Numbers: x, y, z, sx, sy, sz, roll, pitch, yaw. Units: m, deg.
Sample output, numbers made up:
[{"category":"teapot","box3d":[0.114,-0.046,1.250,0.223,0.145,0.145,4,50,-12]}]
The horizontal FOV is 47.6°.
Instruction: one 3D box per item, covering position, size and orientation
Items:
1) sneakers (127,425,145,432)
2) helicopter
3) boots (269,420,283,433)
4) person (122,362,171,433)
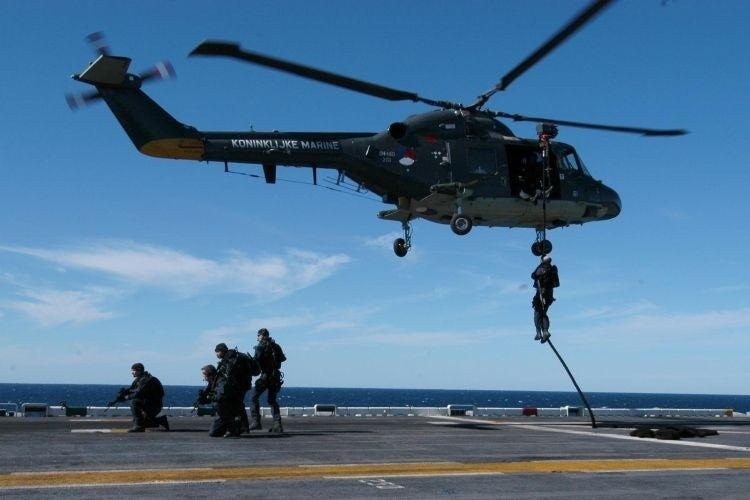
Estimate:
[{"category":"sneakers","box3d":[-5.875,4.409,20.977,0.383,0.124,0.133,7,-2,3]},{"category":"helicopter","box3d":[1.023,-2.983,25.738,15.322,5.540,7.594,3,-14,-29]},{"category":"boots","box3d":[-2.459,4.381,21.190,0.326,0.308,0.487,-2,-12,-7]},{"category":"person","box3d":[-5.735,3.692,21.268,0.895,1.663,1.118,-7,-14,14]}]
